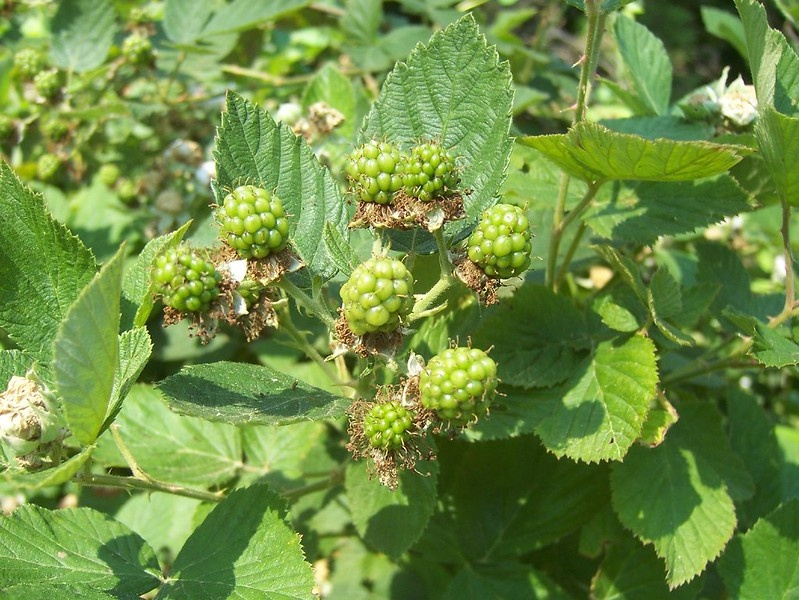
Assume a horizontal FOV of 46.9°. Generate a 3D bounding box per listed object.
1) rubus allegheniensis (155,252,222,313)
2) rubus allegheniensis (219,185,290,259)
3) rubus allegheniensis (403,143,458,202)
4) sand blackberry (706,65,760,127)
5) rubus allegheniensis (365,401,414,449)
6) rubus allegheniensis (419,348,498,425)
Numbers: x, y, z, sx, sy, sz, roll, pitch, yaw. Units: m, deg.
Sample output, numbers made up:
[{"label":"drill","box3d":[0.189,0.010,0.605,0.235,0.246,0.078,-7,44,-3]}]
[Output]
[{"label":"rubus allegheniensis","box3d":[-0.663,-0.044,2.964,0.140,0.198,0.176,-6,79,21]},{"label":"rubus allegheniensis","box3d":[-0.457,-0.238,2.911,0.198,0.193,0.239,0,101,-7]},{"label":"rubus allegheniensis","box3d":[0.095,-0.388,2.912,0.159,0.129,0.186,-2,95,5]},{"label":"sand blackberry","box3d":[1.323,-0.793,3.593,0.161,0.244,0.176,-12,20,-37]},{"label":"rubus allegheniensis","box3d":[-0.031,0.406,2.967,0.161,0.104,0.129,-10,57,1]},{"label":"rubus allegheniensis","box3d":[0.180,0.280,2.904,0.243,0.166,0.198,-4,57,4]}]
